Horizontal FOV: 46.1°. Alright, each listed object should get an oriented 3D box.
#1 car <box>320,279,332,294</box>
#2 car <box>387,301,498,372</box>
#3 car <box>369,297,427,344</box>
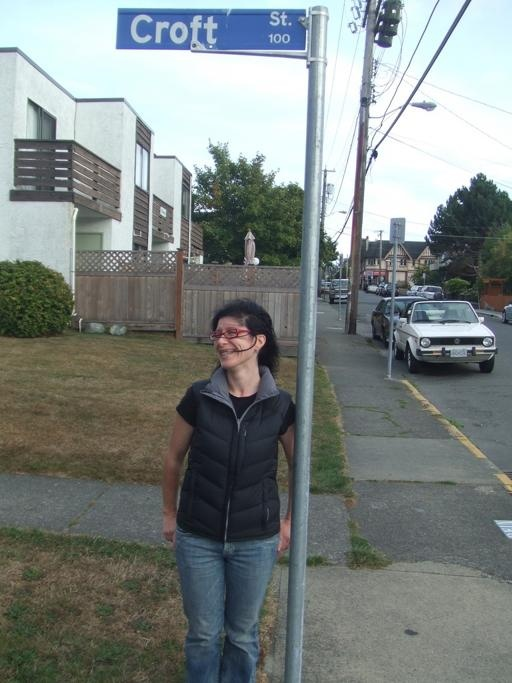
[{"bbox_3d":[6.662,-5.150,57.779,1.208,1.242,2.123,2,14,7],"label":"car"},{"bbox_3d":[4.068,-0.189,13.422,1.263,1.010,2.391,0,2,-6],"label":"car"},{"bbox_3d":[4.460,-0.727,19.741,1.307,1.066,2.256,-1,1,-6],"label":"car"}]
